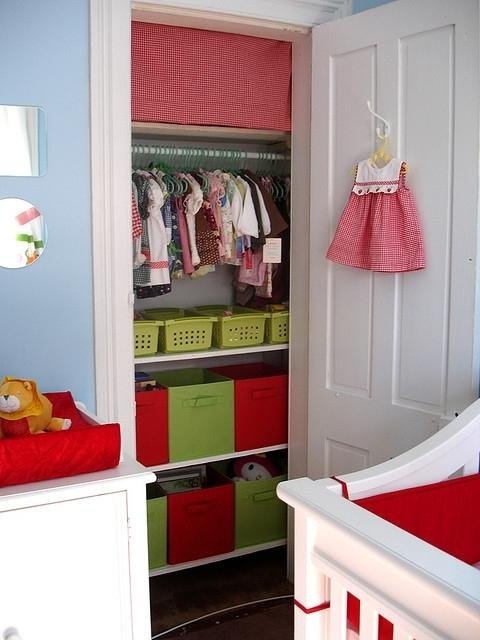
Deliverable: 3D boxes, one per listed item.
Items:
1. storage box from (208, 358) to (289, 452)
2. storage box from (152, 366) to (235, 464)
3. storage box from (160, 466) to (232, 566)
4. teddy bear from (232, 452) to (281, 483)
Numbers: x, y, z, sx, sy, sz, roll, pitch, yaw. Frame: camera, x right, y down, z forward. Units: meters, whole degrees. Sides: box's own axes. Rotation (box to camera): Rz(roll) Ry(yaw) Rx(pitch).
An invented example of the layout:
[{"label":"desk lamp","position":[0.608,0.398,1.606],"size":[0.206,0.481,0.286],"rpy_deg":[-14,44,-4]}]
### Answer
[{"label":"storage box","position":[0.078,0.406,2.735],"size":[0.367,0.350,0.362],"rpy_deg":[-4,8,-22]},{"label":"storage box","position":[-0.231,0.427,2.592],"size":[0.356,0.351,0.369],"rpy_deg":[-3,5,-33]},{"label":"storage box","position":[-0.233,0.867,2.523],"size":[0.304,0.287,0.298],"rpy_deg":[-5,10,-25]},{"label":"teddy bear","position":[0.066,0.710,2.659],"size":[0.162,0.056,0.110],"rpy_deg":[2,6,-16]}]
